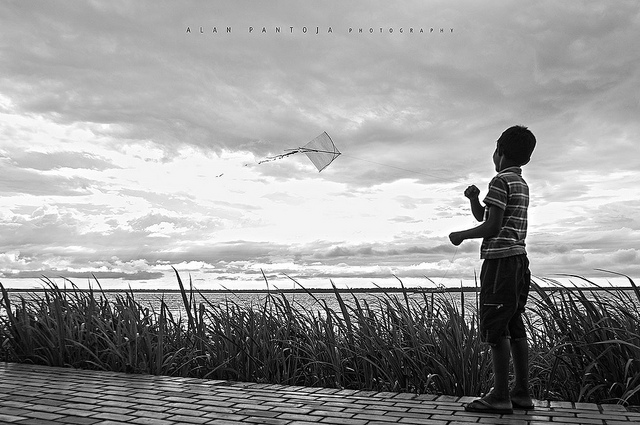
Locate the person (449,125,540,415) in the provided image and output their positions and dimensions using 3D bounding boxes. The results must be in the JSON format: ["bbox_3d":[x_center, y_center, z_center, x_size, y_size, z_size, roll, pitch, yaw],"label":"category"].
[{"bbox_3d":[1.537,0.439,3.764,0.726,2.431,0.315,2,-6,-18],"label":"person"}]

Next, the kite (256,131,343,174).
[{"bbox_3d":[-0.071,-0.809,5.760,0.436,0.554,0.502,4,-7,-36],"label":"kite"}]
